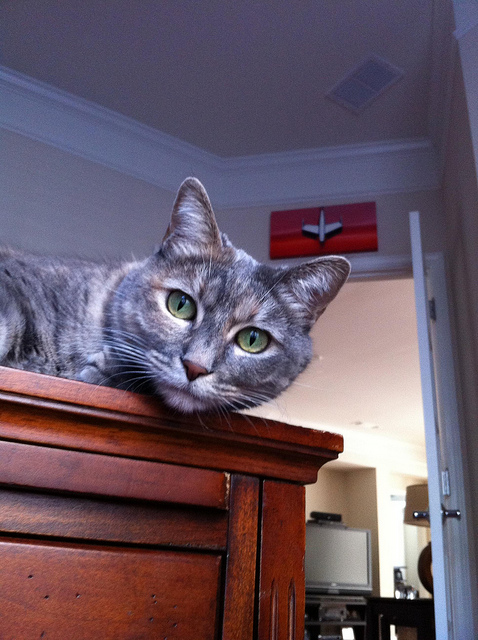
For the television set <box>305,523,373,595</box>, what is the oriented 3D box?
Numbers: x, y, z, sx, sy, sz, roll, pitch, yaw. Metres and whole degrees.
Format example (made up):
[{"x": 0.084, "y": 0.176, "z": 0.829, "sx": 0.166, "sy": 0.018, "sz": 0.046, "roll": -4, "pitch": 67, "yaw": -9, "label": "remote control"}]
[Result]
[{"x": 0.795, "y": 2.033, "z": 4.648, "sx": 0.768, "sy": 0.527, "sz": 0.074, "roll": 12, "pitch": -26, "yaw": -17, "label": "television set"}]

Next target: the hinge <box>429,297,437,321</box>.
[{"x": 0.612, "y": -0.032, "z": 1.708, "sx": 0.023, "sy": 0.076, "sz": 0.057, "roll": 7, "pitch": 2, "yaw": 14, "label": "hinge"}]

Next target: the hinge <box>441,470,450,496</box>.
[{"x": 0.579, "y": 0.453, "z": 1.510, "sx": 0.017, "sy": 0.067, "sz": 0.061, "roll": -4, "pitch": -15, "yaw": 23, "label": "hinge"}]

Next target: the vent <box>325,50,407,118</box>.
[{"x": 0.448, "y": -0.837, "z": 1.936, "sx": 0.189, "sy": 0.029, "sz": 0.261, "roll": 10, "pitch": -16, "yaw": -29, "label": "vent"}]
